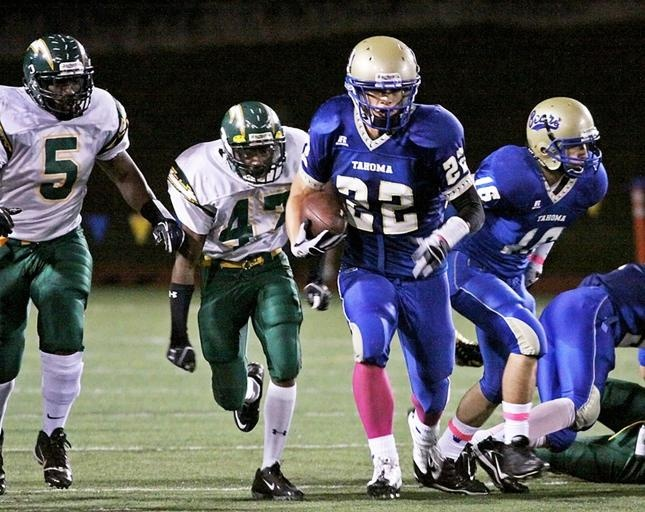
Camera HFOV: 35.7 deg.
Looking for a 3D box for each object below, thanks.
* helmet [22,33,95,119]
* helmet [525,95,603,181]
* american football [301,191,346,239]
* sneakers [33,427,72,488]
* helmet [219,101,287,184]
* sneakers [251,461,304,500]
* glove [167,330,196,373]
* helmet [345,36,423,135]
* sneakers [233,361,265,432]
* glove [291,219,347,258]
[{"bbox_3d":[-1.264,-0.867,4.812,0.315,0.344,0.415,-15,50,-33],"label":"helmet"},{"bbox_3d":[1.226,-0.622,5.114,0.400,0.329,0.305,18,27,33],"label":"helmet"},{"bbox_3d":[-0.007,-0.168,4.500,0.193,0.216,0.197,5,-20,-33],"label":"american football"},{"bbox_3d":[-1.254,0.934,4.684,0.118,0.159,0.346,-4,25,-30],"label":"sneakers"},{"bbox_3d":[-0.343,-0.588,4.807,0.307,0.323,0.412,-13,39,-24],"label":"helmet"},{"bbox_3d":[-0.208,1.007,4.503,0.267,0.118,0.091,-4,-3,36],"label":"sneakers"},{"bbox_3d":[-0.670,0.443,4.764,0.087,0.109,0.250,-17,32,-35],"label":"glove"},{"bbox_3d":[0.225,-0.766,4.408,0.333,0.352,0.429,-2,38,-4],"label":"helmet"},{"bbox_3d":[-0.411,0.754,5.418,0.140,0.392,0.180,0,-9,40],"label":"sneakers"},{"bbox_3d":[0.022,-0.069,4.477,0.117,0.256,0.212,48,9,8],"label":"glove"}]
